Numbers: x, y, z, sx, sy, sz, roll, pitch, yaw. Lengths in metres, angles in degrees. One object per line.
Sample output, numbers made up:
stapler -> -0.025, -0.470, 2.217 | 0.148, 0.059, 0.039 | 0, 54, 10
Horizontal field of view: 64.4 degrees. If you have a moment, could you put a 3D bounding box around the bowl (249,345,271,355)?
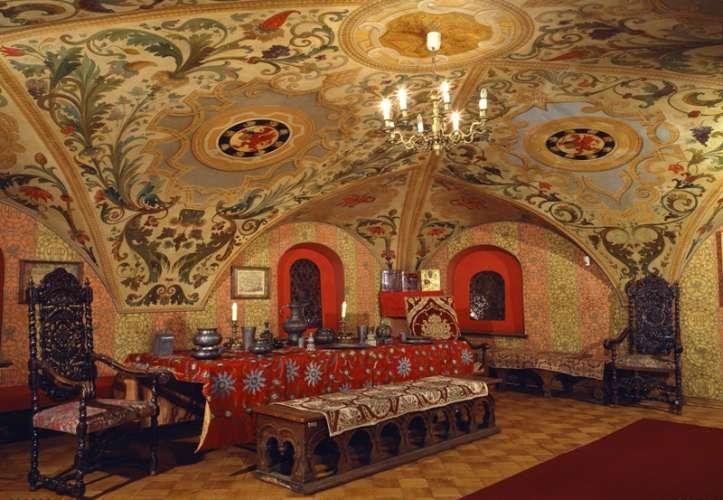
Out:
bowl -> -1.404, 1.366, 7.914 | 0.197, 0.102, 0.175 | -1, -3, 11

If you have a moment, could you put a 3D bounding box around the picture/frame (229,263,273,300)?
picture/frame -> -1.967, 0.559, 9.981 | 0.787, 0.492, 0.077 | 3, -8, -42

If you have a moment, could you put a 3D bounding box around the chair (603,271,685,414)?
chair -> 4.822, 1.499, 9.770 | 1.170, 2.175, 1.265 | 0, 0, 26

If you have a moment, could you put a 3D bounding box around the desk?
desk -> 3.549, 2.263, 10.710 | 1.126, 0.799, 2.333 | 0, 0, -43

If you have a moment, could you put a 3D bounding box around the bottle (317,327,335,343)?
bottle -> -0.542, 1.320, 8.826 | 0.252, 0.142, 0.246 | -2, -5, 0

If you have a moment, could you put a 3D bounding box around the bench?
bench -> 0.187, 2.159, 7.052 | 2.846, 0.834, 0.907 | 0, 0, -35

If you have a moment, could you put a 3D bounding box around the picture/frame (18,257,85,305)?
picture/frame -> -4.010, 0.410, 7.323 | 0.808, 0.458, 0.056 | 1, -9, -32

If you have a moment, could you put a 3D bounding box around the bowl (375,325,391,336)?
bowl -> 0.355, 1.328, 9.509 | 0.216, 0.220, 0.190 | -3, 1, -13
